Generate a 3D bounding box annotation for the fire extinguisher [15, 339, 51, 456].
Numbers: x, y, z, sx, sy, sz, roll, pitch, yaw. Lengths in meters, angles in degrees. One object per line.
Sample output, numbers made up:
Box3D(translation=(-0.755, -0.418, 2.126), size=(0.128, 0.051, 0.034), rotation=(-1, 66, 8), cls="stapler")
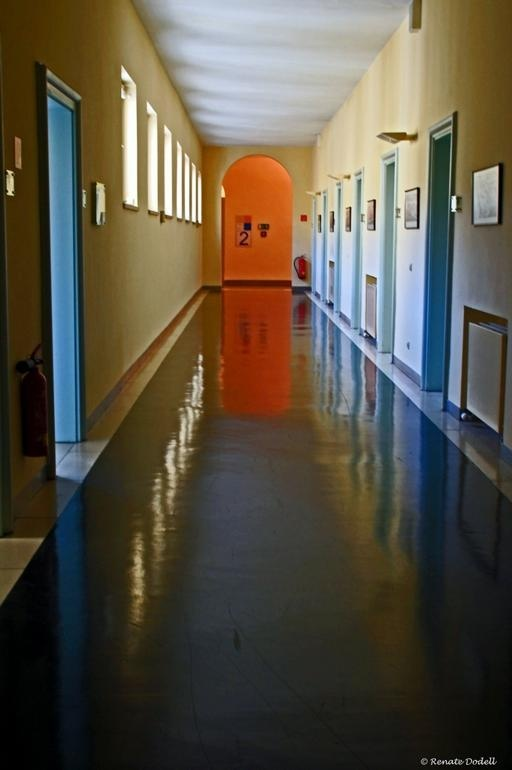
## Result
Box3D(translation=(-1.243, 0.085, 3.110), size=(0.171, 0.550, 0.181), rotation=(5, 7, 36), cls="fire extinguisher")
